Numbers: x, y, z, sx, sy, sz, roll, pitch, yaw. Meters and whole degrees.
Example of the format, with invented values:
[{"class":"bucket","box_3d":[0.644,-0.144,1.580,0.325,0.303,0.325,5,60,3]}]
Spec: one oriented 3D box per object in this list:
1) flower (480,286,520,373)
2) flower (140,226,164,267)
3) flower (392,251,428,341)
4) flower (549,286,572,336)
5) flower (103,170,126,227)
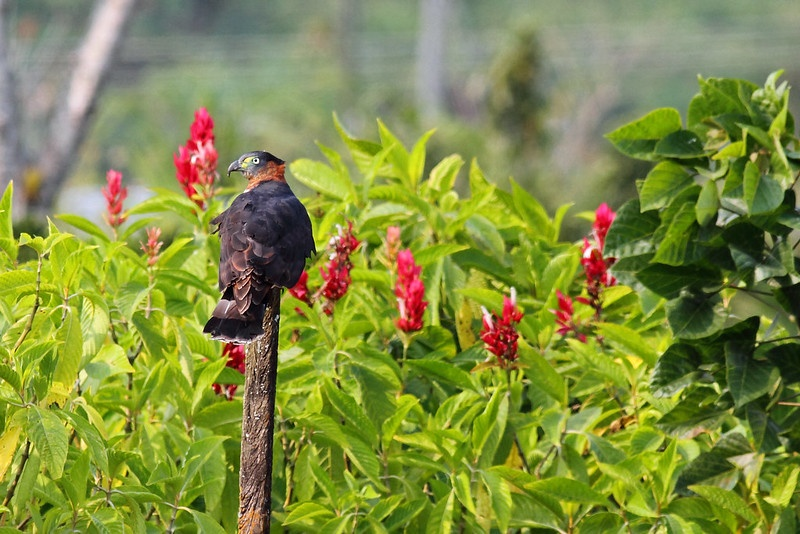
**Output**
[{"class":"flower","box_3d":[0.912,0.543,13.227,0.342,0.570,0.368,3,-11,-3]},{"class":"flower","box_3d":[-2.189,-0.173,13.665,0.286,0.412,0.273,0,2,-6]},{"class":"flower","box_3d":[0.093,0.248,13.239,0.275,0.720,0.189,3,16,5]},{"class":"flower","box_3d":[1.450,0.355,13.310,0.126,0.225,0.381,11,42,-25]},{"class":"flower","box_3d":[-2.591,-0.618,13.928,0.214,0.513,0.600,-1,16,-11]}]
